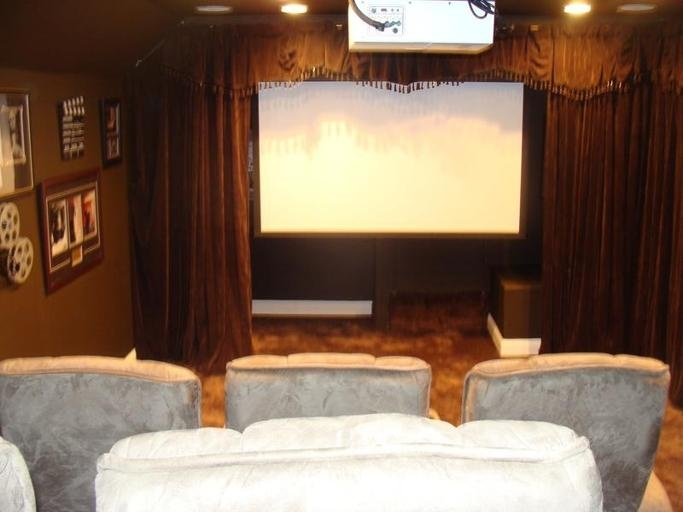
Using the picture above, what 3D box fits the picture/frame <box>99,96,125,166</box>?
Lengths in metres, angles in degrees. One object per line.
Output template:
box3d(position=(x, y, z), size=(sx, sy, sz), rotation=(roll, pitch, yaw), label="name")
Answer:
box3d(position=(-1.537, -0.815, 3.987), size=(0.028, 0.474, 0.342), rotation=(-5, 10, -41), label="picture/frame")
